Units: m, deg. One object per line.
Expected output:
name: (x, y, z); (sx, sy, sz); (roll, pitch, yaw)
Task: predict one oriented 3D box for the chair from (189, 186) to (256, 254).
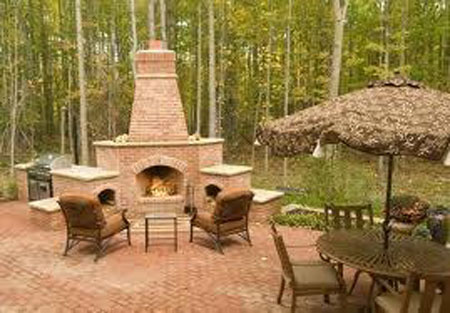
chair: (-0.029, 1.993, 14.400); (1.963, 1.993, 1.084); (0, 10, 4)
